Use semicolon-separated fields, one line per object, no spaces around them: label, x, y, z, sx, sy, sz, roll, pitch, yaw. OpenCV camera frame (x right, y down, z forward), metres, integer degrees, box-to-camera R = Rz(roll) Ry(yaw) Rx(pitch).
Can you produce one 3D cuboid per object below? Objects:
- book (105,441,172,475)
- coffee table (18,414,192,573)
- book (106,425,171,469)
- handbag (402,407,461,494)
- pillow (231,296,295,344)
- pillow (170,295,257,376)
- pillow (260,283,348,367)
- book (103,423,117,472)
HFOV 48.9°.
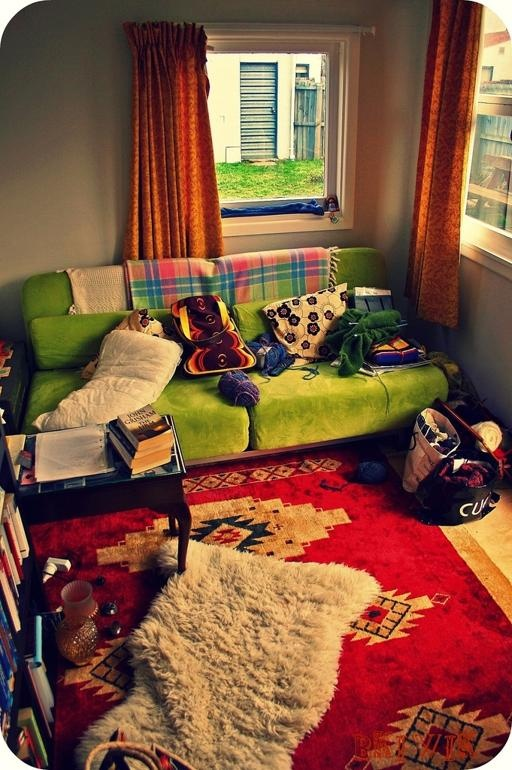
book;-0.364;0.249;1.877;0.111;0.027;0.111;-14;33;-29
coffee table;-0.490;0.362;1.907;0.574;0.474;0.390;-5;63;-13
book;-0.390;0.185;1.910;0.131;0.060;0.179;-6;40;-28
handbag;0.796;0.304;2.540;0.159;0.282;0.236;17;41;-8
pillow;0.020;-0.364;3.124;0.292;0.209;0.216;-14;39;-22
pillow;-0.228;-0.236;2.890;0.317;0.160;0.493;-9;57;-16
pillow;0.273;-0.342;3.094;0.409;0.393;0.125;-18;-4;-28
book;-0.504;0.224;1.949;0.025;0.103;0.106;-6;2;-5
